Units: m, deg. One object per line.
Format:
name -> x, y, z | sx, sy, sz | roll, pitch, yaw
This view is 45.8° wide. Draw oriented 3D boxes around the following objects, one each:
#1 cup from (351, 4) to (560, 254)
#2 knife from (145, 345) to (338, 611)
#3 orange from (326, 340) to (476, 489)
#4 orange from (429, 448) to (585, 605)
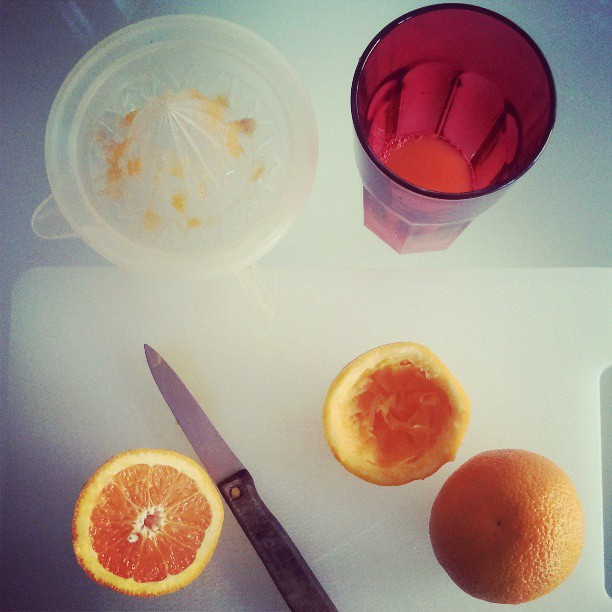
cup -> 0.139, -0.163, 0.682 | 0.179, 0.176, 0.177 | -6, 47, 7
knife -> -0.079, 0.224, 0.877 | 0.033, 0.027, 0.336 | -26, 81, -3
orange -> 0.103, 0.126, 0.823 | 0.163, 0.105, 0.126 | -10, 48, 5
orange -> 0.213, 0.229, 0.769 | 0.153, 0.105, 0.135 | -23, 48, -7
